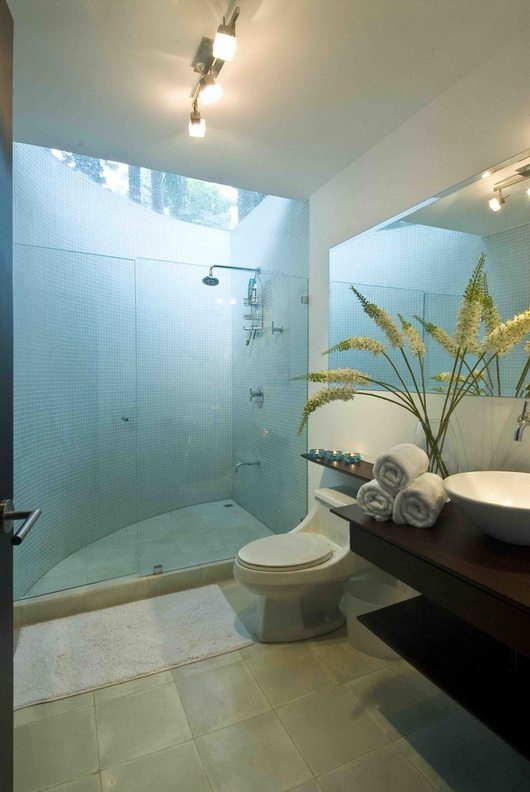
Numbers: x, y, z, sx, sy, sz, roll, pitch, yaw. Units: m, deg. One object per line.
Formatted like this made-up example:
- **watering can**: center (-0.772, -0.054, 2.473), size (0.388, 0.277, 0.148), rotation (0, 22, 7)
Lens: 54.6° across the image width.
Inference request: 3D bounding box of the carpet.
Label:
- **carpet**: center (-0.572, 1.039, 2.223), size (0.938, 0.027, 0.608), rotation (-3, 4, -25)

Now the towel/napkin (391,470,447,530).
- **towel/napkin**: center (0.439, 0.273, 1.432), size (0.101, 0.090, 0.222), rotation (2, 5, 26)

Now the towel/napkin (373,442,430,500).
- **towel/napkin**: center (0.402, 0.228, 1.511), size (0.116, 0.113, 0.170), rotation (-2, -5, 43)

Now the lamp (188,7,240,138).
- **lamp**: center (-0.182, -1.061, 1.720), size (0.089, 0.169, 0.419), rotation (-1, -14, -9)

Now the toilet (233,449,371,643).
- **toilet**: center (0.156, 0.740, 2.251), size (0.569, 0.592, 0.375), rotation (-1, 9, -18)

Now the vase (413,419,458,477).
- **vase**: center (0.630, 0.180, 1.849), size (0.151, 0.237, 0.162), rotation (0, 5, 36)
